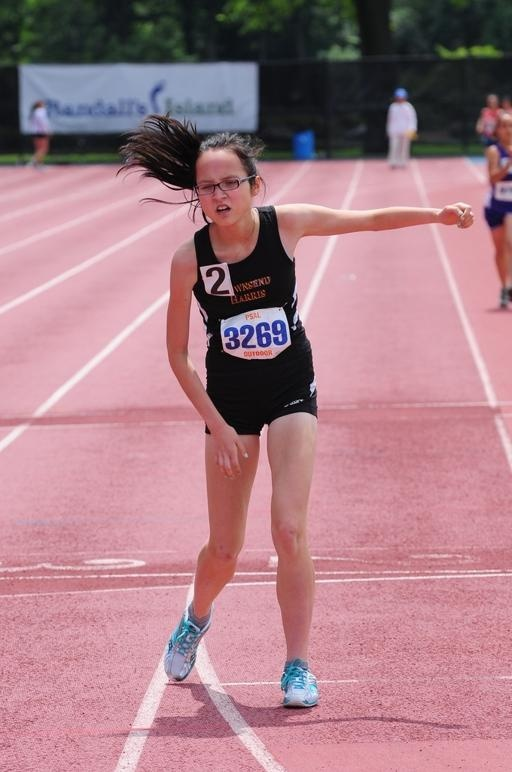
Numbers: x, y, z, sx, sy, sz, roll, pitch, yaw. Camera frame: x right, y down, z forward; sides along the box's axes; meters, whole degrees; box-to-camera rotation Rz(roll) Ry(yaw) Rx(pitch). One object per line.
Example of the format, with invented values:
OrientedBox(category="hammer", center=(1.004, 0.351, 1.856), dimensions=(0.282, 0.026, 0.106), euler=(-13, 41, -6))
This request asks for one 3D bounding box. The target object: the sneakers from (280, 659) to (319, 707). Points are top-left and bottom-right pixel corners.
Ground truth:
OrientedBox(category="sneakers", center=(0.127, 0.807, 2.065), dimensions=(0.081, 0.067, 0.154), euler=(0, 0, 1))

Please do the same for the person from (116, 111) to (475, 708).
OrientedBox(category="person", center=(0.035, 0.036, 2.171), dimensions=(0.839, 1.729, 0.424), euler=(-2, 2, 2))

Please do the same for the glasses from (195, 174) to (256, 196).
OrientedBox(category="glasses", center=(-0.072, -0.534, 2.000), dimensions=(0.164, 0.069, 0.091), euler=(-2, 2, -6))

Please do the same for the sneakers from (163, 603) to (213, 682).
OrientedBox(category="sneakers", center=(-0.208, 0.775, 2.318), dimensions=(0.095, 0.260, 0.114), euler=(29, -27, -13))
